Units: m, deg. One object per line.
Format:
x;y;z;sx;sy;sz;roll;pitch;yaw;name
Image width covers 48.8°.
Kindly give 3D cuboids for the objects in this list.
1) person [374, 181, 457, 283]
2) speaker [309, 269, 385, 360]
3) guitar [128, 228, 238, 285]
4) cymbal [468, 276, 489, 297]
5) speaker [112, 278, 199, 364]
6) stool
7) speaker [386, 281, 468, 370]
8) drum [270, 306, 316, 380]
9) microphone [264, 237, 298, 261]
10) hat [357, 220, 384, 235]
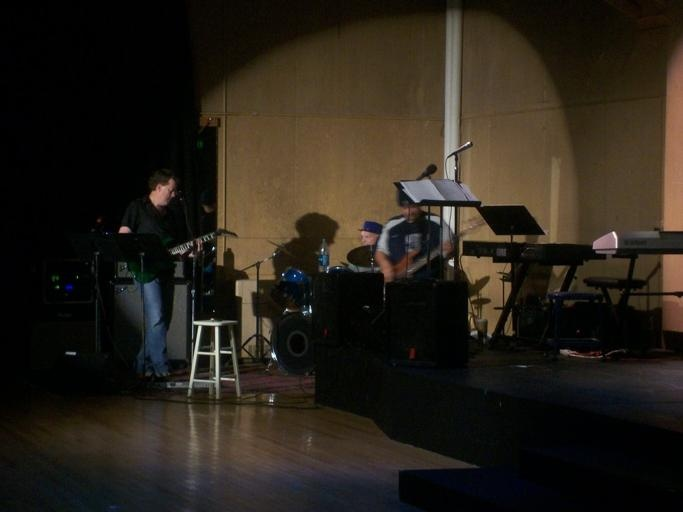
0.684;-0.128;7.114;0.757;1.139;0.669;-10;10;-35;person
0.036;0.477;6.795;0.611;0.964;0.518;0;-1;-15;speaker
-1.582;-0.072;7.796;1.218;0.501;0.143;-27;18;-34;guitar
1.685;0.364;9.297;0.245;0.293;0.173;12;6;-5;cymbal
-2.217;0.704;8.696;1.099;0.817;1.107;-3;-2;-6;speaker
-1.219;0.989;7.263;0.473;0.741;0.486;0;0;44;stool
0.668;0.563;6.077;0.355;0.684;0.614;1;-4;-40;speaker
-0.515;0.911;8.052;0.531;0.705;0.625;0;-2;-18;drum
-0.715;-0.080;9.135;0.707;0.134;0.035;24;-2;45;microphone
0.322;-0.301;8.232;0.192;0.096;0.155;4;-1;1;hat
